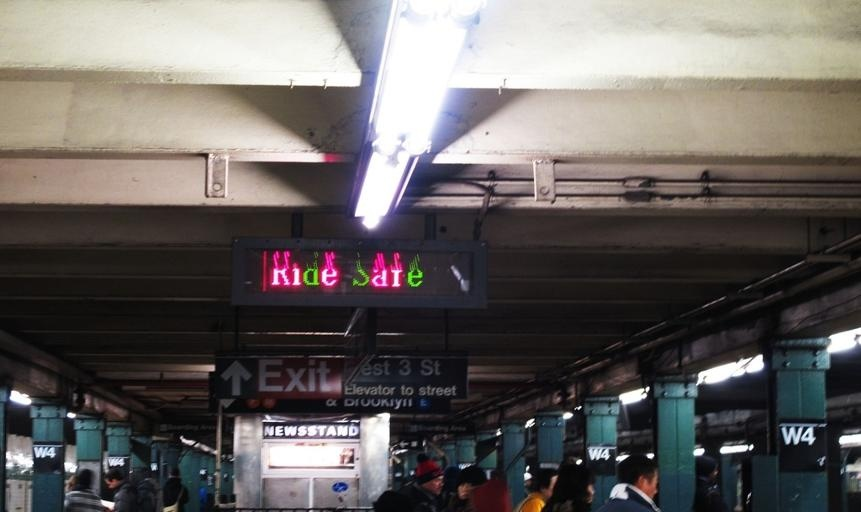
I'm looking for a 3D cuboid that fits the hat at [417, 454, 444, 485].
[{"bbox_3d":[-0.046,3.445,22.953,0.442,0.372,0.330,-17,-5,-1],"label":"hat"}]
